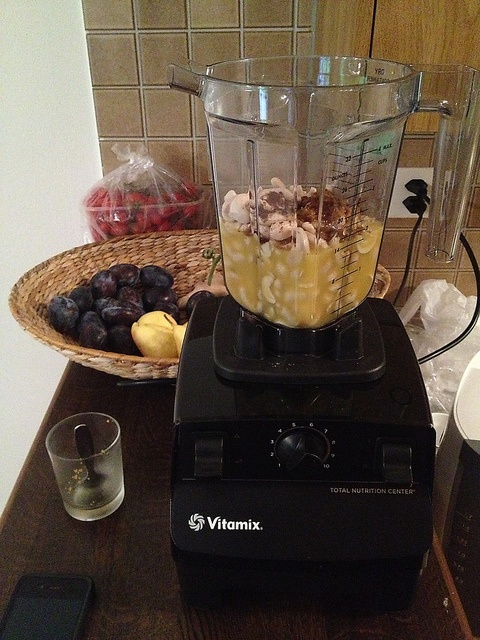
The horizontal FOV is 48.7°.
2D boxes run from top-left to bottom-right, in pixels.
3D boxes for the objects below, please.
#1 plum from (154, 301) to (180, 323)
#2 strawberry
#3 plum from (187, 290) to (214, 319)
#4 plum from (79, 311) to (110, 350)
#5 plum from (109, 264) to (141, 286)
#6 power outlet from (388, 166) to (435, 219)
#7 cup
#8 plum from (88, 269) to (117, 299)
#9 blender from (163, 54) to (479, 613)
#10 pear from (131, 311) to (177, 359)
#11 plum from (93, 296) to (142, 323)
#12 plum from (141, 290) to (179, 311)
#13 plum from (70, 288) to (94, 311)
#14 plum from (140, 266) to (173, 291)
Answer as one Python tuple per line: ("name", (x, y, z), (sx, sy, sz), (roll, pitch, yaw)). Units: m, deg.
("plum", (-0.133, -0.012, 0.974), (0.038, 0.045, 0.038), (-2, -10, -24))
("strawberry", (-0.203, -0.237, 1.020), (0.136, 0.157, 0.131), (0, 19, 2))
("plum", (-0.073, -0.024, 0.916), (0.052, 0.061, 0.051), (6, 7, -23))
("plum", (-0.242, 0.023, 0.883), (0.035, 0.039, 0.070), (-28, 44, 3))
("plum", (-0.210, -0.083, 0.967), (0.049, 0.036, 0.039), (14, 18, 24))
("power outlet", (0.337, -0.243, 1.020), (0.046, 0.061, 0.006), (3, 14, 16))
("cup", (-0.175, 0.174, 0.631), (0.113, 0.111, 0.082), (-4, 15, -11))
("plum", (-0.242, -0.062, 0.933), (0.039, 0.039, 0.051), (-7, 54, -1))
("blender", (0.060, 0.007, 0.497), (0.249, 0.412, 0.327), (-1, 38, 1))
("pear", (-0.131, 0.030, 0.903), (0.106, 0.064, 0.124), (-3, 23, -9))
("plum", (-0.205, -0.013, 0.893), (0.063, 0.038, 0.035), (14, -6, 20))
("plum", (-0.153, -0.042, 0.987), (0.051, 0.039, 0.038), (-9, 17, -11))
("plum", (-0.274, -0.035, 0.929), (0.041, 0.048, 0.039), (0, 1, -20))
("plum", (-0.157, -0.080, 0.998), (0.058, 0.039, 0.033), (26, 58, -27))
